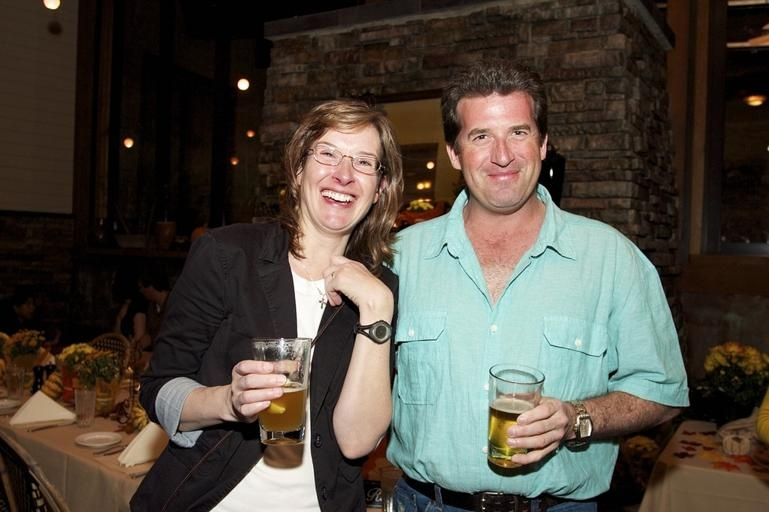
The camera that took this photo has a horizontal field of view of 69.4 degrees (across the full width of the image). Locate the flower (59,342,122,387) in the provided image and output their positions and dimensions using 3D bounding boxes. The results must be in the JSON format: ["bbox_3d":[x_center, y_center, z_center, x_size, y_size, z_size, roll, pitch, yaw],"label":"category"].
[{"bbox_3d":[-1.920,0.713,3.679,0.318,0.208,0.292,10,7,15],"label":"flower"}]

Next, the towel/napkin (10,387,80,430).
[{"bbox_3d":[-2.269,0.996,3.669,0.447,0.173,0.433,7,3,-10],"label":"towel/napkin"}]

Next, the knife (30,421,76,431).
[{"bbox_3d":[-2.126,1.086,3.561,0.266,0.027,0.075,0,6,-31],"label":"knife"}]

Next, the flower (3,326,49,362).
[{"bbox_3d":[-2.902,0.745,4.456,0.288,0.277,0.293,1,-2,-35],"label":"flower"}]

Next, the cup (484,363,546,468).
[{"bbox_3d":[0.494,0.601,2.090,0.198,0.373,0.166,0,-1,3],"label":"cup"}]

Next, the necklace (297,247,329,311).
[{"bbox_3d":[-0.305,0.116,2.341,0.169,0.223,0.057,0,-11,-25],"label":"necklace"}]
